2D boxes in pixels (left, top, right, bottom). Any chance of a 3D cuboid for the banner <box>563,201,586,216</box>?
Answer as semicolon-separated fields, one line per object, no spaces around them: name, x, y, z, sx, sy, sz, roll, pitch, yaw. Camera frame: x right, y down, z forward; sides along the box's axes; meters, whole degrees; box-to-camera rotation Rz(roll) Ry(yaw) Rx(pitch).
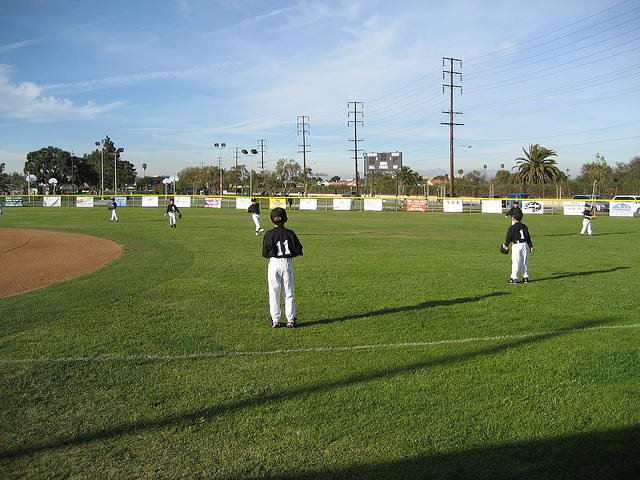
banner;24.667;-3.109;47.822;1.153;1.333;2.608;0;7;1

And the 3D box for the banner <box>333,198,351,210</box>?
banner;2.432;-3.840;53.202;2.044;1.425;1.132;1;0;9

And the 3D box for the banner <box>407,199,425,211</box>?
banner;10.231;-3.254;51.808;1.933;1.350;1.094;5;14;24

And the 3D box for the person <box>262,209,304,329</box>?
person;-0.706;0.506;9.201;0.698;2.151;0.837;-1;7;-4

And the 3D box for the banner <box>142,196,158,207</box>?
banner;-20.264;-4.476;58.196;2.253;1.040;0.802;3;7;26

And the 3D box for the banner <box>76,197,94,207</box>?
banner;-29.223;-4.718;60.747;2.739;1.015;0.891;4;8;32

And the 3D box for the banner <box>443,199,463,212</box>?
banner;13.835;-3.564;51.184;2.162;1.505;1.207;3;12;12

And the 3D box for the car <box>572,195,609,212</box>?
car;29.877;-3.938;54.315;2.063;1.910;4.261;-4;4;-37

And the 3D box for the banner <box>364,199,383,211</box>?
banner;5.832;-3.759;53.393;2.051;1.391;1.155;2;-1;25

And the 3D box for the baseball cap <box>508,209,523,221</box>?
baseball cap;5.174;-0.670;12.987;0.269;0.313;0.101;10;9;-15

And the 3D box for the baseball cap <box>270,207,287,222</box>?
baseball cap;-0.780;-0.468;9.155;0.278;0.257;0.401;-1;7;-9
